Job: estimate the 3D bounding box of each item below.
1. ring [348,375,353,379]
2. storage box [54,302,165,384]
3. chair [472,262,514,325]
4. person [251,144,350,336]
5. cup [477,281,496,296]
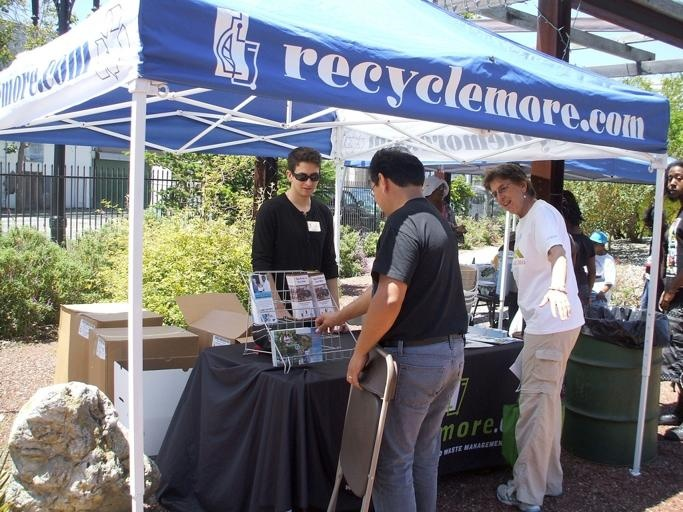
[{"bbox_3d":[0.055,0.687,3.255,0.026,0.014,0.037,0,-5,8],"label":"ring"},{"bbox_3d":[-2.185,0.725,5.301,0.799,0.871,0.810,0,5,-29],"label":"storage box"},{"bbox_3d":[2.381,0.579,8.942,0.576,0.885,0.601,2,3,14],"label":"chair"},{"bbox_3d":[-0.345,0.137,4.618,0.663,2.023,0.593,-1,10,-17],"label":"person"},{"bbox_3d":[2.239,0.489,8.803,0.187,0.214,0.287,5,-2,-13],"label":"cup"}]
